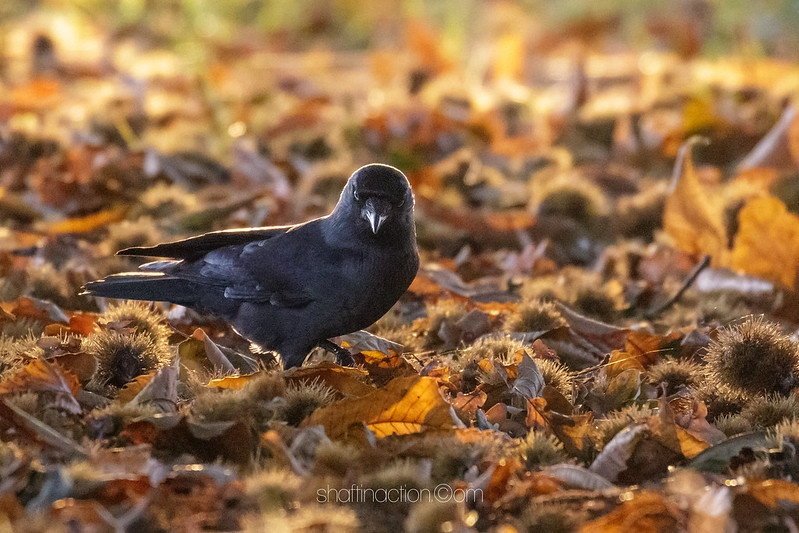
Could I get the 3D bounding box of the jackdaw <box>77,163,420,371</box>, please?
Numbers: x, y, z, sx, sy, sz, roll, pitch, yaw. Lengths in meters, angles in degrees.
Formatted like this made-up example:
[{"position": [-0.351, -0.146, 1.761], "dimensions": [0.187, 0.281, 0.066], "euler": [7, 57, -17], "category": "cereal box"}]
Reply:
[{"position": [-0.602, 0.090, 5.074], "dimensions": [1.348, 0.910, 0.805], "euler": [-8, 65, -21], "category": "jackdaw"}]
